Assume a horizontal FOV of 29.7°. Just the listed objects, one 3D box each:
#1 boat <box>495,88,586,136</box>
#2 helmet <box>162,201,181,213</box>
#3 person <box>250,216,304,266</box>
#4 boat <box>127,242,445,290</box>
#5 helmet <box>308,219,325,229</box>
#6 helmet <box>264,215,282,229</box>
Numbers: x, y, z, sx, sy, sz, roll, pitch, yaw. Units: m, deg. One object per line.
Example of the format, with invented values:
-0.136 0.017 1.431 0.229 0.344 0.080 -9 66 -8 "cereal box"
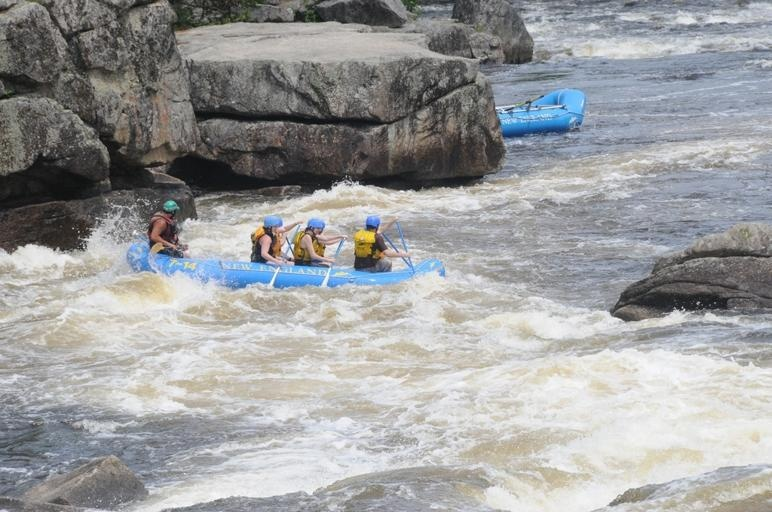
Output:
4.631 -4.101 42.210 2.928 0.688 1.475 -8 34 -2 "boat"
-4.458 -1.045 30.907 0.401 0.180 0.233 -6 65 -9 "helmet"
-2.273 -0.302 31.134 0.879 0.996 0.569 -12 48 -7 "person"
-2.321 0.299 30.437 7.188 0.802 1.836 3 11 -3 "boat"
-1.437 -0.697 30.809 0.334 0.261 0.226 -8 18 -12 "helmet"
-2.321 -0.750 30.654 0.380 0.247 0.236 -17 40 5 "helmet"
